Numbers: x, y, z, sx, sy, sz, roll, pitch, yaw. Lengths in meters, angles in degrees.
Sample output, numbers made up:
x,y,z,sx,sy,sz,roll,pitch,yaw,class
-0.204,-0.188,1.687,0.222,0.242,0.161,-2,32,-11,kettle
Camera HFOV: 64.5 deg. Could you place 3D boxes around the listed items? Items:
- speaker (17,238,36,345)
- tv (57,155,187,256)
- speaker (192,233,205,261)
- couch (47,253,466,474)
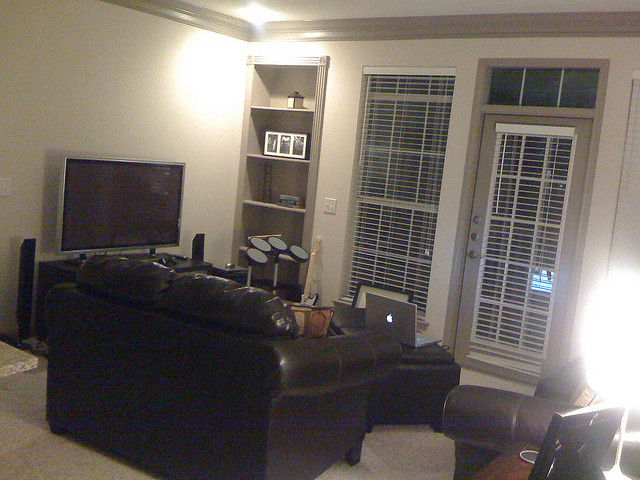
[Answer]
x,y,z,sx,sy,sz,roll,pitch,yaw,class
-2.328,0.389,4.018,0.113,0.825,0.240,2,9,-29,speaker
-1.762,-0.316,4.419,0.049,0.656,1.249,10,8,41,tv
-1.213,0.064,5.015,0.196,0.256,0.080,9,8,26,speaker
-0.563,0.633,2.457,1.740,1.009,0.551,6,7,14,couch
